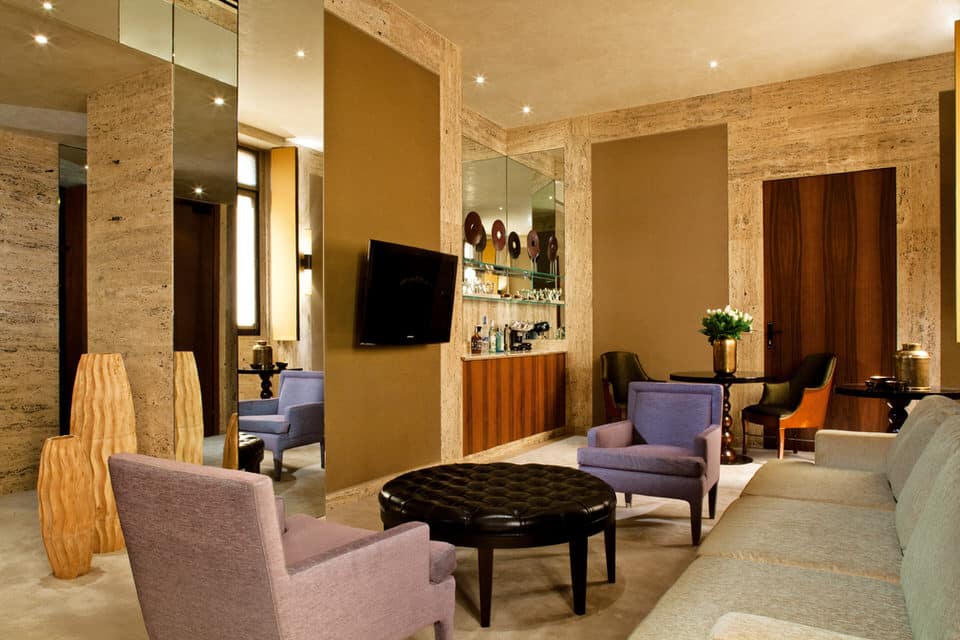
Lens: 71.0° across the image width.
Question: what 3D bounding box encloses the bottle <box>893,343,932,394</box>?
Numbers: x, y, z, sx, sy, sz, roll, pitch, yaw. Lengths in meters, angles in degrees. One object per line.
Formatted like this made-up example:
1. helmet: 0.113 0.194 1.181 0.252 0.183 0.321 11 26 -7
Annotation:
1. bottle: 3.975 0.423 6.192 0.262 0.400 0.331 0 0 29

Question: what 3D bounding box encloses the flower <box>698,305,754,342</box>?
1. flower: 2.703 0.053 7.420 0.513 0.326 0.487 -1 0 0

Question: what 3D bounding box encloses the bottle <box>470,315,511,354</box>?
1. bottle: 0.123 0.196 8.632 0.490 0.436 0.261 6 -9 -44

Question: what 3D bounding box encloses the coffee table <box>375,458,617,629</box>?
1. coffee table: 0.101 1.290 4.316 1.095 0.402 1.057 -1 -1 30

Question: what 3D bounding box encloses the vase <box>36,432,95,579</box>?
1. vase: -2.868 1.291 4.652 0.298 0.953 0.212 0 0 -32

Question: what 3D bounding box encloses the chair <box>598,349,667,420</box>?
1. chair: 1.757 0.813 8.451 0.860 1.046 0.807 2 -7 -17

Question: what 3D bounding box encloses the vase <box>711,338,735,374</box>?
1. vase: 2.655 0.390 7.293 0.226 0.403 0.145 0 0 5

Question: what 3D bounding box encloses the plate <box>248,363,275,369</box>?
1. plate: -1.685 0.356 5.210 0.173 0.054 0.034 1 0 -40

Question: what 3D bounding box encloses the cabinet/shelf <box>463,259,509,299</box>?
1. cabinet/shelf: 0.109 -0.522 8.777 0.257 0.485 1.157 0 -1 30
